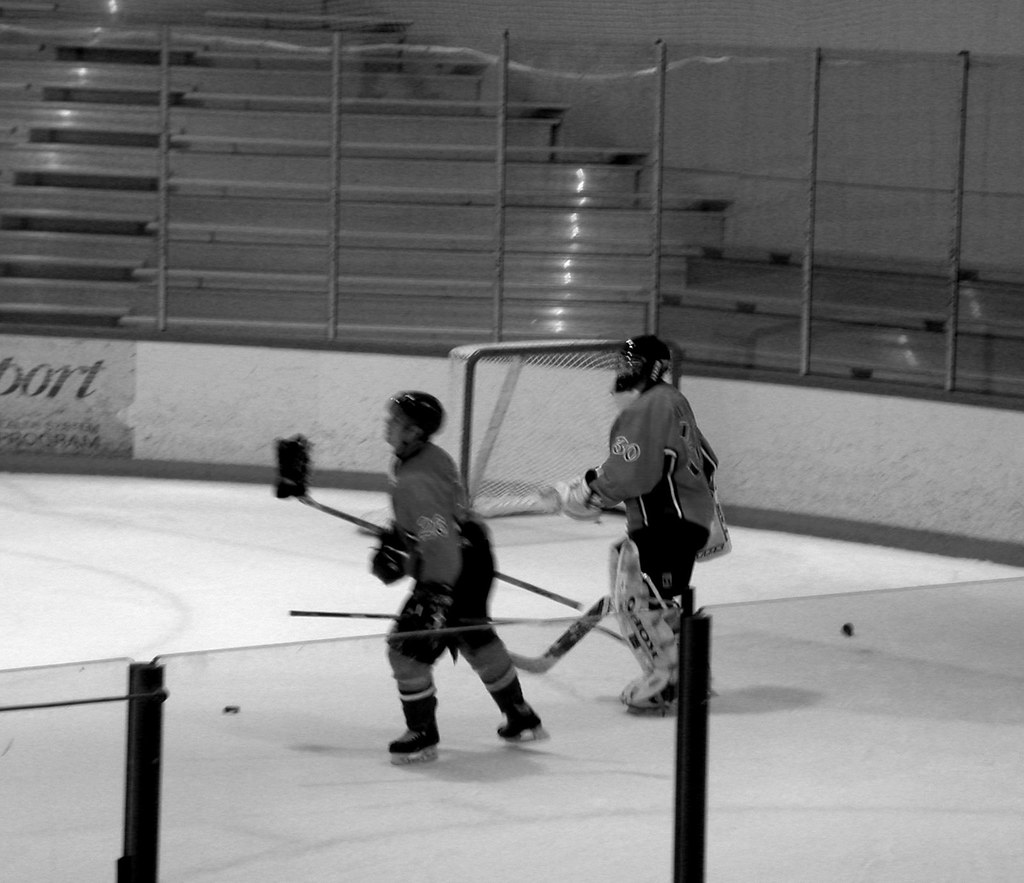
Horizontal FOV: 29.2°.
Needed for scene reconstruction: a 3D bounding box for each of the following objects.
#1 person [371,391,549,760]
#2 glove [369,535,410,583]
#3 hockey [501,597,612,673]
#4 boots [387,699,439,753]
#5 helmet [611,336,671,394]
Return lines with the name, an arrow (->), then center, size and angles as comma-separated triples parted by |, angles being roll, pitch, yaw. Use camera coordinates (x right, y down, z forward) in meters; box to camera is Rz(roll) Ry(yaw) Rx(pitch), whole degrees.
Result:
person -> -0.155, 0.375, 6.096 | 0.678, 1.145, 0.506 | -7, -37, 2
glove -> -0.344, 0.322, 5.398 | 0.115, 0.123, 0.036 | -6, -23, -15
hockey -> 0.112, 0.446, 4.410 | 0.075, 0.140, 0.356 | 6, 2, 35
boots -> -0.228, 0.603, 4.181 | 0.072, 0.100, 0.164 | -6, -2, 33
helmet -> 0.431, -0.263, 6.689 | 0.233, 0.186, 0.188 | 14, 7, 4
